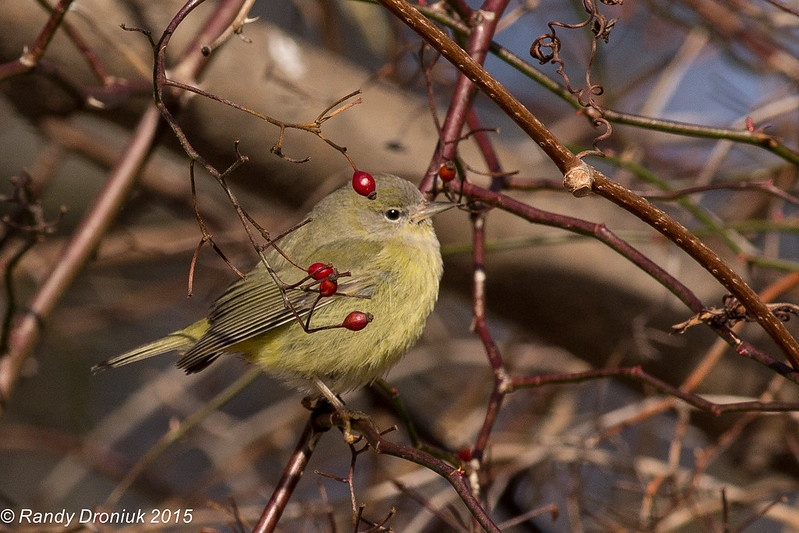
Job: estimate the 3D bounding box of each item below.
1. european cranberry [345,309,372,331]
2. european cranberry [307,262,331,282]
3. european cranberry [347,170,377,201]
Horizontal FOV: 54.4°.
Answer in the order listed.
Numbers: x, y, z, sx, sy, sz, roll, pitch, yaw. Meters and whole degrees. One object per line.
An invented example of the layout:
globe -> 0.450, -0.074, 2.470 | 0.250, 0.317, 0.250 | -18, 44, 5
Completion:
european cranberry -> -0.235, 0.308, 4.357 | 0.175, 0.100, 0.073 | -13, -13, 13
european cranberry -> -0.440, 0.034, 4.275 | 0.123, 0.096, 0.089 | -7, -1, -4
european cranberry -> -0.201, -0.466, 4.471 | 0.145, 0.104, 0.273 | 20, 12, -5
